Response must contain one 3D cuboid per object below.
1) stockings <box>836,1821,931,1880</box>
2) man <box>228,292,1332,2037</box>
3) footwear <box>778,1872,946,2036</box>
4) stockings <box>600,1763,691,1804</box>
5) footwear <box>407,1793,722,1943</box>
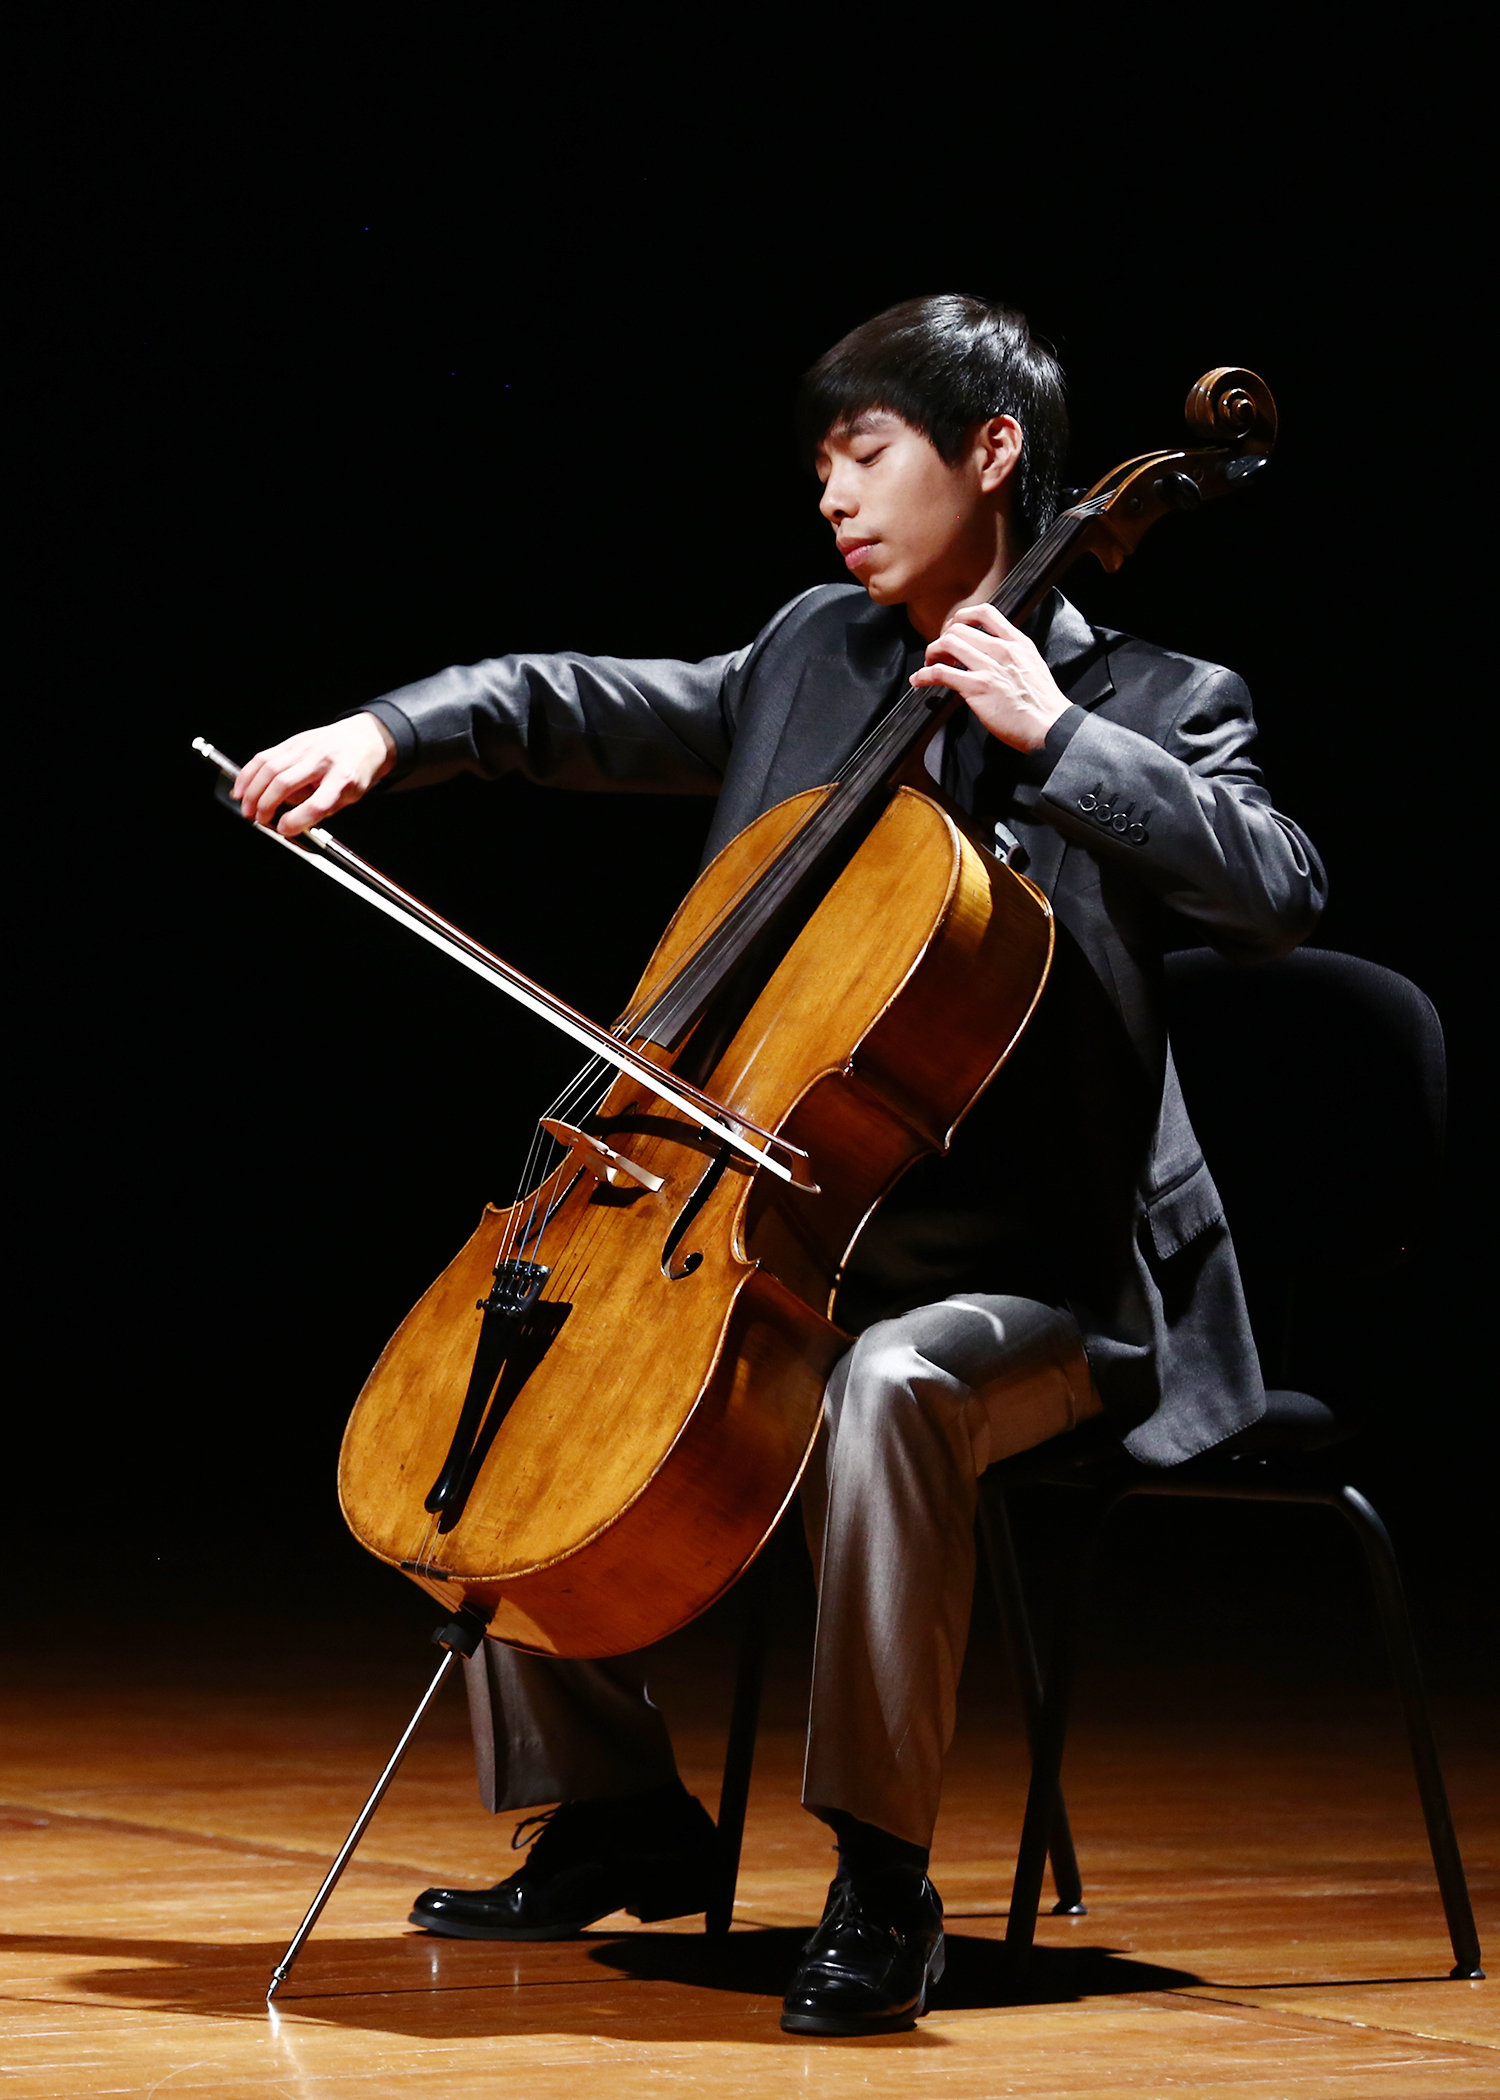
[{"bbox_3d":[0.061,0.392,1.103,0.029,0.014,0.044,-5,10,-29],"label":"stockings"},{"bbox_3d":[0.004,0.047,1.400,0.660,1.036,0.477,2,-3,24],"label":"man"},{"bbox_3d":[0.061,0.428,1.075,0.040,0.048,0.112,-1,-5,24],"label":"footwear"},{"bbox_3d":[-0.068,0.445,1.375,0.031,0.028,0.014,-9,41,-20],"label":"stockings"},{"bbox_3d":[-0.092,0.480,1.364,0.220,0.086,0.071,1,-5,-15],"label":"footwear"}]
